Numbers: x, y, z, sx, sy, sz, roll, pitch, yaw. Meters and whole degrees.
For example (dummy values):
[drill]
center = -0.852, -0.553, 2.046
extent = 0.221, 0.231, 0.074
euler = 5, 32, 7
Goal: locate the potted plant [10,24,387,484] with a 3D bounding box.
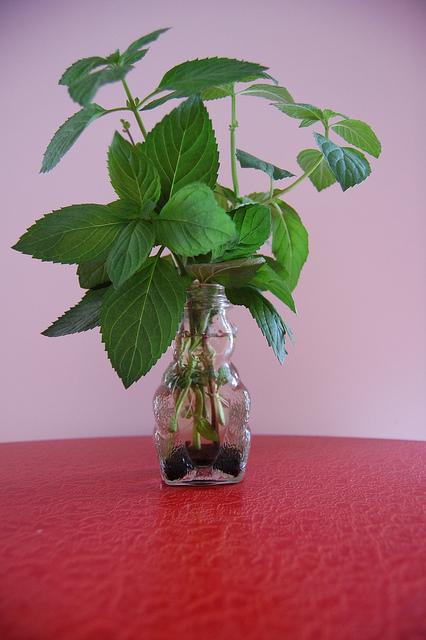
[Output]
[potted plant]
center = 0.004, -0.052, 0.528
extent = 0.342, 0.358, 0.253
euler = 3, -10, -45

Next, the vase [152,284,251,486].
[vase]
center = -0.007, 0.058, 0.507
extent = 0.091, 0.177, 0.062
euler = 1, 0, -9
